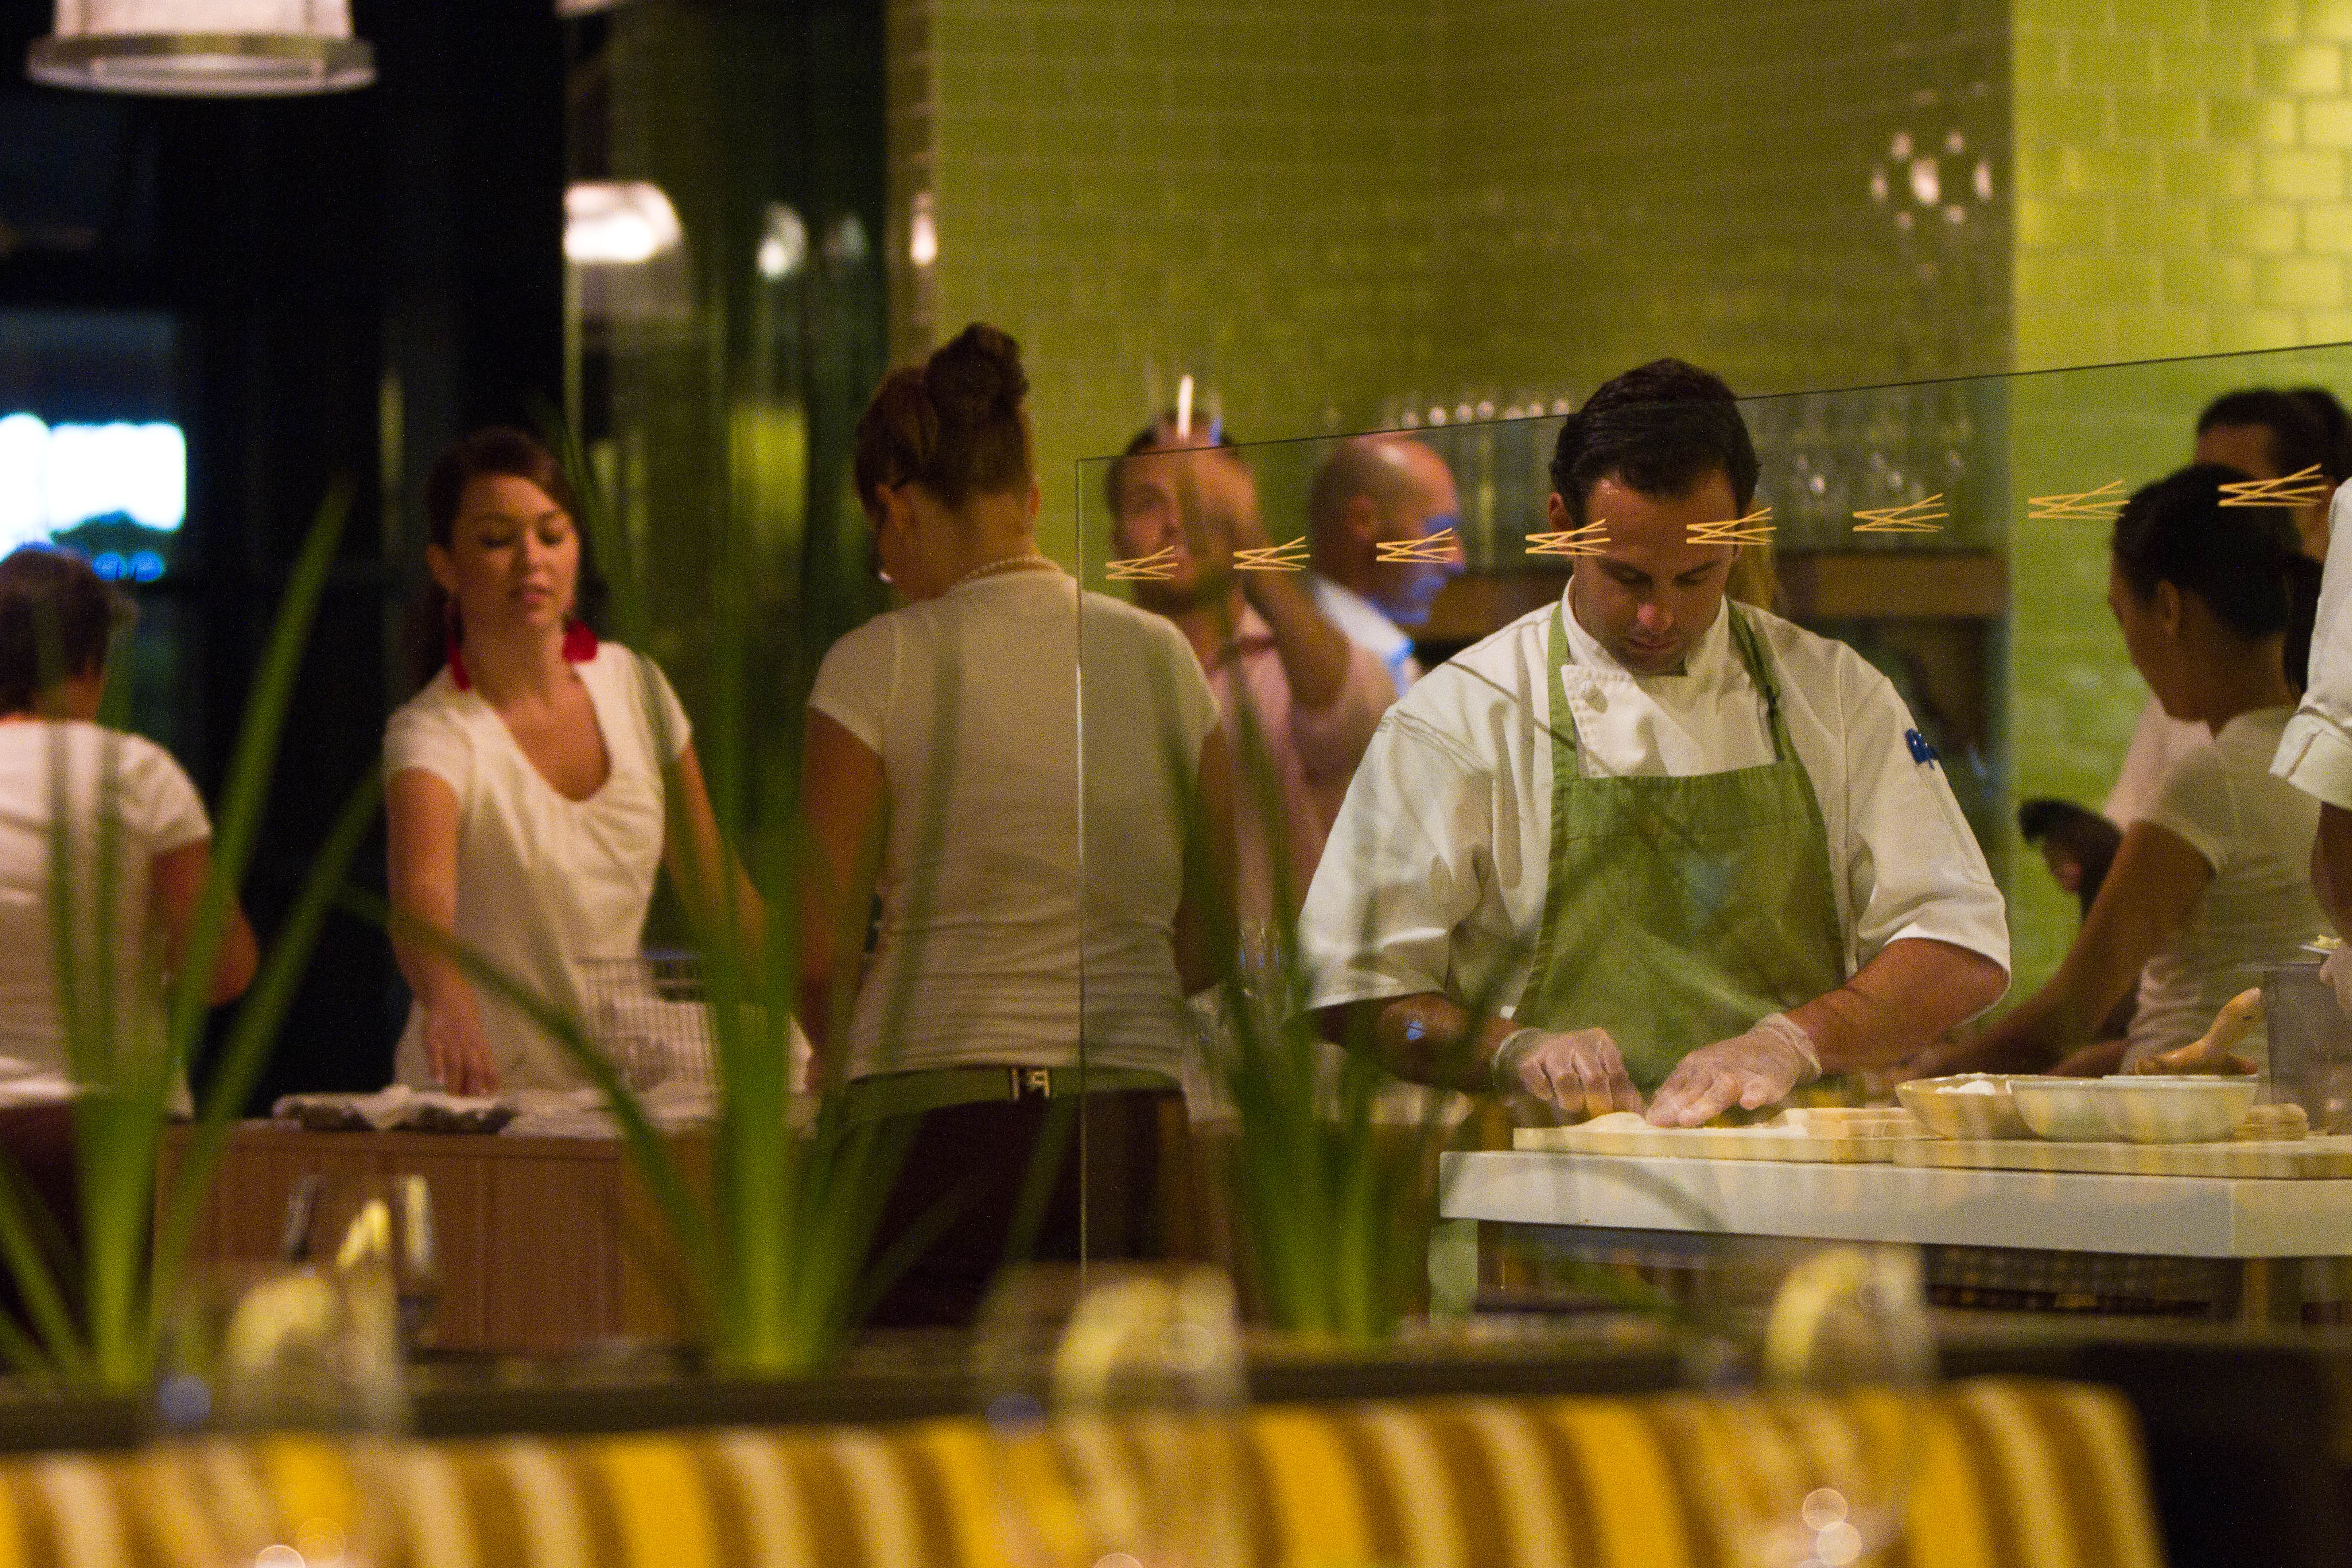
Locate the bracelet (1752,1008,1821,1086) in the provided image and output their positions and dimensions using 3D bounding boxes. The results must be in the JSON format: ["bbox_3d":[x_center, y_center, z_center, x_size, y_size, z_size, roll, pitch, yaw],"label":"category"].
[{"bbox_3d":[0.548,0.230,3.240,0.043,0.061,0.021,-34,-12,24],"label":"bracelet"}]

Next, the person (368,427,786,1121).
[{"bbox_3d":[-0.788,-0.016,4.468,0.365,0.862,1.655,-1,4,-13],"label":"person"}]

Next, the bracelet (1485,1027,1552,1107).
[{"bbox_3d":[0.306,0.247,3.233,0.047,0.063,0.026,3,-11,-10],"label":"bracelet"}]

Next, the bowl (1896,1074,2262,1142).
[{"bbox_3d":[0.794,0.278,3.178,0.308,0.057,0.039,1,4,13],"label":"bowl"}]
